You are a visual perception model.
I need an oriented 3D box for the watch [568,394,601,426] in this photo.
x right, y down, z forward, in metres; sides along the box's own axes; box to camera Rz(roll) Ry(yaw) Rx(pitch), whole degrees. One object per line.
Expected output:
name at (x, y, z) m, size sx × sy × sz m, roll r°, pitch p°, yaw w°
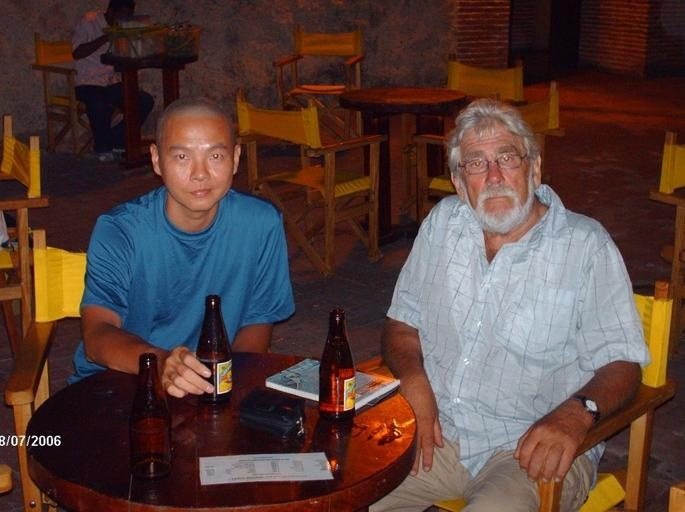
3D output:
watch at (0.804, 0.512, 1.987) m, size 0.094 × 0.077 × 0.064 m, roll 8°, pitch 9°, yaw 38°

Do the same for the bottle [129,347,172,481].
bottle at (-0.507, 0.414, 1.591) m, size 0.107 × 0.296 × 0.201 m, roll 0°, pitch 8°, yaw -20°

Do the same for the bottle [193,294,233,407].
bottle at (-0.406, 0.286, 1.904) m, size 0.118 × 0.338 × 0.185 m, roll 2°, pitch 7°, yaw -11°

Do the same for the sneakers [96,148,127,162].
sneakers at (-3.573, -1.594, 9.273) m, size 0.489 × 0.192 × 0.184 m, roll 1°, pitch 2°, yaw -1°
